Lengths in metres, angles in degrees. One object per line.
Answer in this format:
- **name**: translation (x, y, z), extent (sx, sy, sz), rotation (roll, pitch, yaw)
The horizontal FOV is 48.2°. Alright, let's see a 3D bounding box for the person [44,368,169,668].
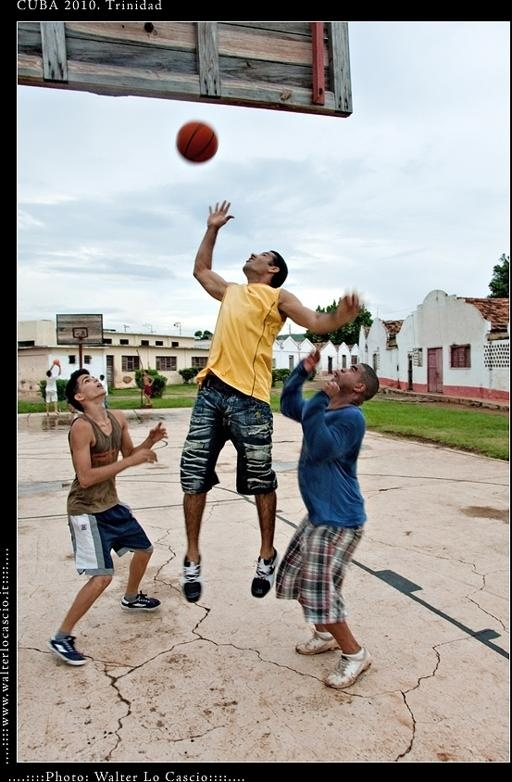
- **person**: translation (-0.723, 0.557, 2.907), extent (0.513, 1.329, 0.770), rotation (0, 3, -10)

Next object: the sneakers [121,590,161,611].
- **sneakers**: translation (-0.629, 1.159, 3.171), extent (0.211, 0.107, 0.087), rotation (1, -2, -3)

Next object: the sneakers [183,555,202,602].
- **sneakers**: translation (-0.324, 0.967, 2.960), extent (0.077, 0.245, 0.100), rotation (-3, 0, -4)

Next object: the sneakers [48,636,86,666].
- **sneakers**: translation (-0.838, 1.167, 2.577), extent (0.161, 0.118, 0.097), rotation (1, 3, 26)

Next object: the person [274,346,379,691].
- **person**: translation (0.329, 0.549, 2.599), extent (0.438, 1.456, 0.525), rotation (0, 3, -6)

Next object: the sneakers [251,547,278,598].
- **sneakers**: translation (0.055, 0.991, 3.018), extent (0.092, 0.300, 0.117), rotation (2, -22, 36)

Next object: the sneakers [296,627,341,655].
- **sneakers**: translation (0.296, 1.216, 2.801), extent (0.241, 0.131, 0.093), rotation (3, -7, -19)
